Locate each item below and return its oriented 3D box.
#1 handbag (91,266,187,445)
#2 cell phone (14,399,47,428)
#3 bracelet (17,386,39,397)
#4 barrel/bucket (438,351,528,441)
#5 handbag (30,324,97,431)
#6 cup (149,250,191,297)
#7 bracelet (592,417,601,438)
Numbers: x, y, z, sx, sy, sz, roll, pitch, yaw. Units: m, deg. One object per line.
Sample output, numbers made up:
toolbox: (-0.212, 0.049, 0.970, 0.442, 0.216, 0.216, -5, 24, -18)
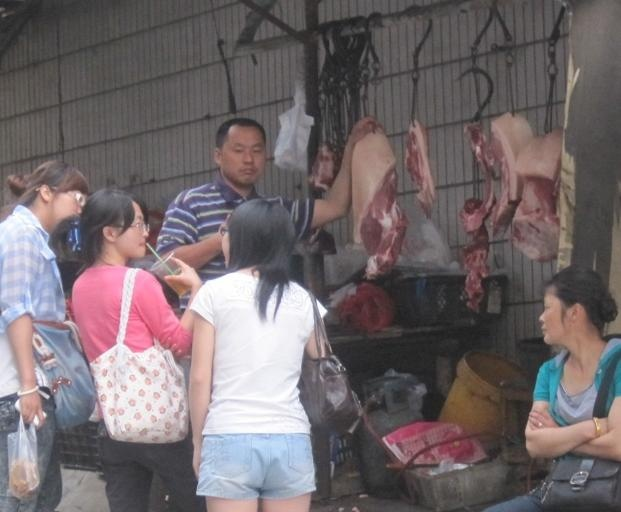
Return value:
handbag: (-0.905, 0.510, 5.313, 0.358, 0.960, 0.379, -10, -24, 19)
cell phone: (-1.370, 0.778, 5.145, 0.123, 0.135, 0.041, 29, -6, -33)
bracelet: (-1.383, 0.651, 5.144, 0.105, 0.044, 0.067, -3, -1, -25)
barrel/bucket: (1.158, 0.923, 6.838, 0.411, 0.505, 0.513, 0, 23, -36)
handbag: (-1.264, 0.585, 5.416, 0.257, 0.594, 0.377, -13, 13, -15)
cup: (-0.739, 0.078, 5.493, 0.113, 0.249, 0.111, -36, 1, 1)
bracelet: (1.335, 0.807, 4.947, 0.021, 0.066, 0.049, -2, -6, -5)
